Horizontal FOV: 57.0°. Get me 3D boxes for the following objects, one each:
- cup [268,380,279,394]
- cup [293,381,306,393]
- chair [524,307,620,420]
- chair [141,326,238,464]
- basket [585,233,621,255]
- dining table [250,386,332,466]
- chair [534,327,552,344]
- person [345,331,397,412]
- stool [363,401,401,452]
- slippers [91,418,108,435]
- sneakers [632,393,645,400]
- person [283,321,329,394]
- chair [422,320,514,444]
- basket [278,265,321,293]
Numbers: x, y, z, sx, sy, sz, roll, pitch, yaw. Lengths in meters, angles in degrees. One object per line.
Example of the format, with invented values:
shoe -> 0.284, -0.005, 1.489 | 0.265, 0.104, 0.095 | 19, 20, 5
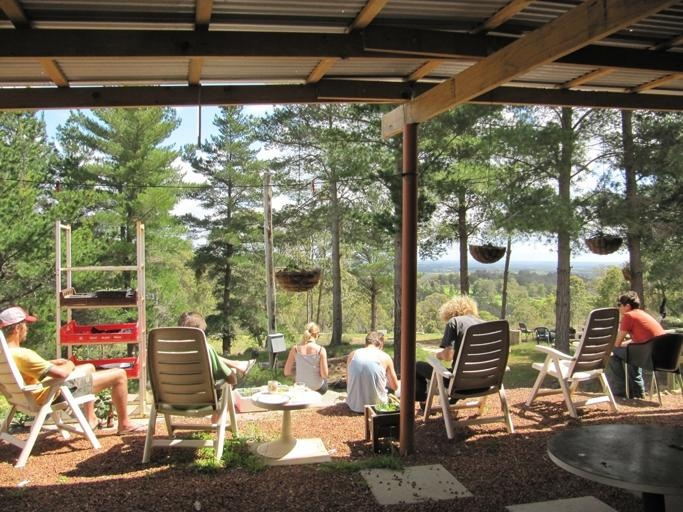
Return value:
cup -> -0.690, 1.318, 6.354 | 0.081, 0.098, 0.134 | 1, 1, 1
cup -> -0.437, 1.343, 6.505 | 0.085, 0.085, 0.088 | 3, -6, 0
chair -> 2.814, 1.226, 7.632 | 0.928, 1.258, 0.982 | 0, 2, -14
chair -> -1.570, 1.366, 6.547 | 0.999, 1.341, 1.103 | -1, 1, -20
basket -> 4.189, -0.198, 10.064 | 0.425, 0.323, 0.455 | -1, -1, -18
dining table -> -0.532, 1.651, 6.276 | 0.668, 0.524, 0.692 | 0, -2, -2
chair -> 6.989, 2.724, 21.753 | 0.614, 0.904, 0.699 | 0, -8, 2
person -> 0.379, 1.413, 7.697 | 0.567, 0.952, 0.952 | 1, -4, 11
stool -> 0.461, 1.768, 6.606 | 0.402, 0.326, 0.517 | -1, -1, -13
slippers -> -2.739, 1.904, 7.120 | 0.089, 0.115, 0.284 | 1, -1, -3
sneakers -> 3.852, 1.821, 8.161 | 0.138, 0.054, 0.105 | -4, -1, 32
person -> -0.452, 1.324, 7.992 | 0.538, 0.623, 0.794 | -1, -1, -4
chair -> 1.382, 1.301, 6.975 | 0.890, 1.213, 0.923 | -1, 2, -9
basket -> -0.539, 0.291, 7.947 | 0.481, 0.197, 0.536 | -3, -2, 32
